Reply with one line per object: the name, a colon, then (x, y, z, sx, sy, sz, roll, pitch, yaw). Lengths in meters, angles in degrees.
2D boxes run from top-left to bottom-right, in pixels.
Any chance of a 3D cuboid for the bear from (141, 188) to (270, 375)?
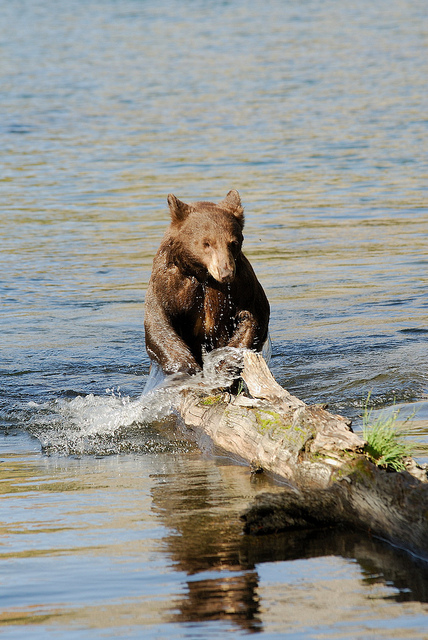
bear: (-0.091, -0.217, 8.270, 0.929, 1.624, 1.264, -4, 59, -8)
